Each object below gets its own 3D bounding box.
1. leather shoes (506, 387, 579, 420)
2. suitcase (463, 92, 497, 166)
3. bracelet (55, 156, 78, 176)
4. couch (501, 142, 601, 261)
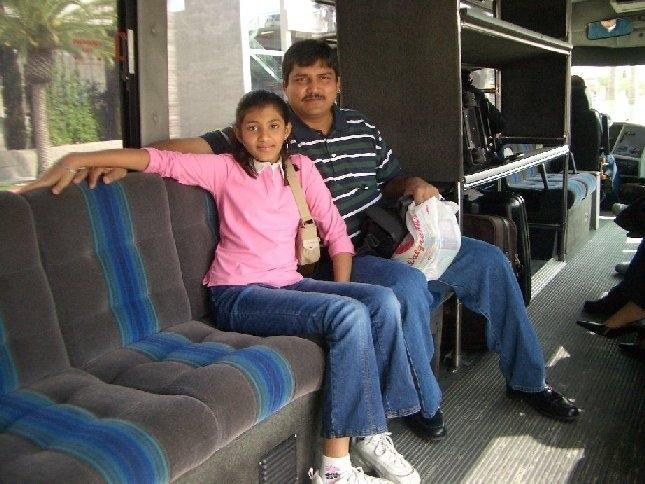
[{"bbox_3d":[1.159,0.835,2.628,0.346,0.145,0.129,6,20,36],"label":"leather shoes"},{"bbox_3d":[1.146,-0.811,3.578,0.180,0.598,0.454,-1,4,37],"label":"suitcase"},{"bbox_3d":[-1.016,-0.304,1.986,0.089,0.066,0.024,22,13,-6],"label":"bracelet"},{"bbox_3d":[2.197,-0.364,4.743,0.665,0.917,1.258,1,8,27],"label":"couch"}]
